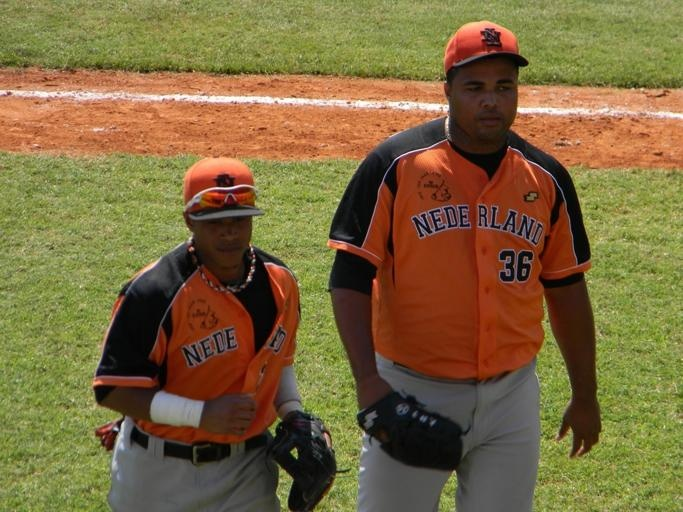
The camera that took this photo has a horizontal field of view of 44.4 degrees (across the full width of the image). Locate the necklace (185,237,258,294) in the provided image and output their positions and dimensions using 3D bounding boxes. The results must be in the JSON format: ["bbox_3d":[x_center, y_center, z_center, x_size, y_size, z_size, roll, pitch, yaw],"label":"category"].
[{"bbox_3d":[-0.814,0.086,5.933,0.435,0.379,0.495,-9,30,-27],"label":"necklace"}]

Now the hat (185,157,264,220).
[{"bbox_3d":[-0.811,-0.515,5.817,0.495,0.419,0.673,-10,19,-37],"label":"hat"}]

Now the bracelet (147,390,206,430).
[{"bbox_3d":[-1.091,1.021,5.522,0.315,0.206,0.133,15,-7,1],"label":"bracelet"}]

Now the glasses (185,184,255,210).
[{"bbox_3d":[-0.830,-0.401,5.722,0.489,0.164,0.159,-2,20,-8],"label":"glasses"}]

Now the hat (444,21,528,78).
[{"bbox_3d":[0.993,-1.413,5.750,0.551,0.349,0.317,2,20,4],"label":"hat"}]
